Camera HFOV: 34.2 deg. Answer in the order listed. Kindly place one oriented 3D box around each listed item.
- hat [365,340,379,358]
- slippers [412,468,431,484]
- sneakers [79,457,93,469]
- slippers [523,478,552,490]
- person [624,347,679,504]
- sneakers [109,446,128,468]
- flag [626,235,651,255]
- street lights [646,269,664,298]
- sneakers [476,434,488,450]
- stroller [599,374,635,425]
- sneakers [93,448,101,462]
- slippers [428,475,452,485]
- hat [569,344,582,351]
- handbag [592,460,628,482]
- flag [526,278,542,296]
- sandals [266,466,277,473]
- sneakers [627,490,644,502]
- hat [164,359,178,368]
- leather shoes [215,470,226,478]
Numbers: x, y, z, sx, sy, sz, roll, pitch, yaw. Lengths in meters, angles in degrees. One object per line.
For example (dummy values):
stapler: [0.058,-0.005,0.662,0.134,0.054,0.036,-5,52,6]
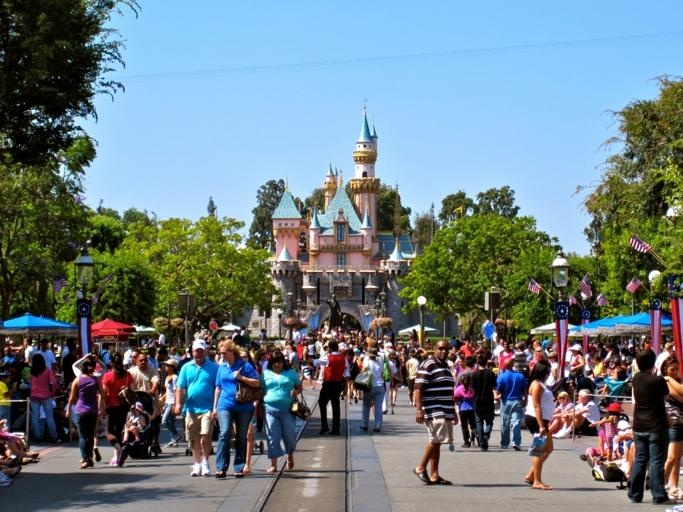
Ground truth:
hat: [0.777,2.394,28.900,0.328,0.416,0.152,2,-23,-34]
slippers: [1.537,4.211,21.335,0.161,0.425,0.149,-34,-9,22]
sneakers: [-5.271,4.269,22.811,0.228,0.257,0.150,0,0,8]
slippers: [3.660,4.308,20.909,0.195,0.121,0.416,4,0,-44]
person: [5.499,3.049,19.855,0.738,2.710,0.610,-2,-8,18]
sneakers: [-4.669,4.303,23.203,0.222,0.631,0.211,18,5,33]
flag: [12.181,-0.544,45.501,0.636,0.489,0.374,33,-30,12]
street lights: [12.449,1.060,44.014,0.442,1.266,0.477,-3,7,-3]
sneakers: [3.267,4.303,25.665,0.140,0.204,0.470,1,-36,2]
stroller: [6.691,3.340,26.619,0.830,1.079,1.548,0,-7,-2]
sneakers: [-5.240,4.242,23.696,0.110,0.341,0.134,-12,14,-17]
slippers: [1.891,4.298,21.242,0.379,0.178,0.174,-4,-2,4]
hat: [8.165,3.164,38.707,0.562,0.188,0.608,1,-8,-5]
handbag: [5.273,4.219,21.727,0.383,0.226,0.588,1,-3,0]
flag: [9.815,1.490,56.635,0.110,0.910,1.244,-40,23,-12]
sandals: [-1.381,4.229,22.009,0.112,0.087,0.195,-4,-4,0]
sneakers: [5.295,4.328,19.925,0.180,0.213,0.147,0,-3,1]
hat: [-4.104,2.559,26.507,0.410,0.170,0.496,3,-13,-1]
leather shoes: [-2.367,4.225,21.501,0.157,0.177,0.103,1,0,4]
